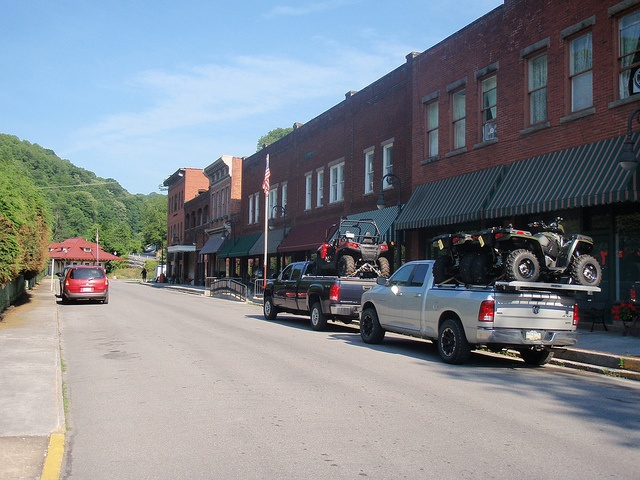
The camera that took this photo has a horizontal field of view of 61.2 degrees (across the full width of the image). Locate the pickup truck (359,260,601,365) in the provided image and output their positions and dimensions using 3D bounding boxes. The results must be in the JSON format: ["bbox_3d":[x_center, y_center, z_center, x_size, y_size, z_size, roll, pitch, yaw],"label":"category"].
[{"bbox_3d":[3.306,1.671,12.842,2.241,1.863,5.646,4,-8,-26],"label":"pickup truck"}]

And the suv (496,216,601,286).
[{"bbox_3d":[4.972,0.264,12.269,2.337,1.712,1.383,0,-2,-15],"label":"suv"}]

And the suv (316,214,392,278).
[{"bbox_3d":[1.119,0.414,19.106,1.804,2.076,3.512,3,-2,-21],"label":"suv"}]
